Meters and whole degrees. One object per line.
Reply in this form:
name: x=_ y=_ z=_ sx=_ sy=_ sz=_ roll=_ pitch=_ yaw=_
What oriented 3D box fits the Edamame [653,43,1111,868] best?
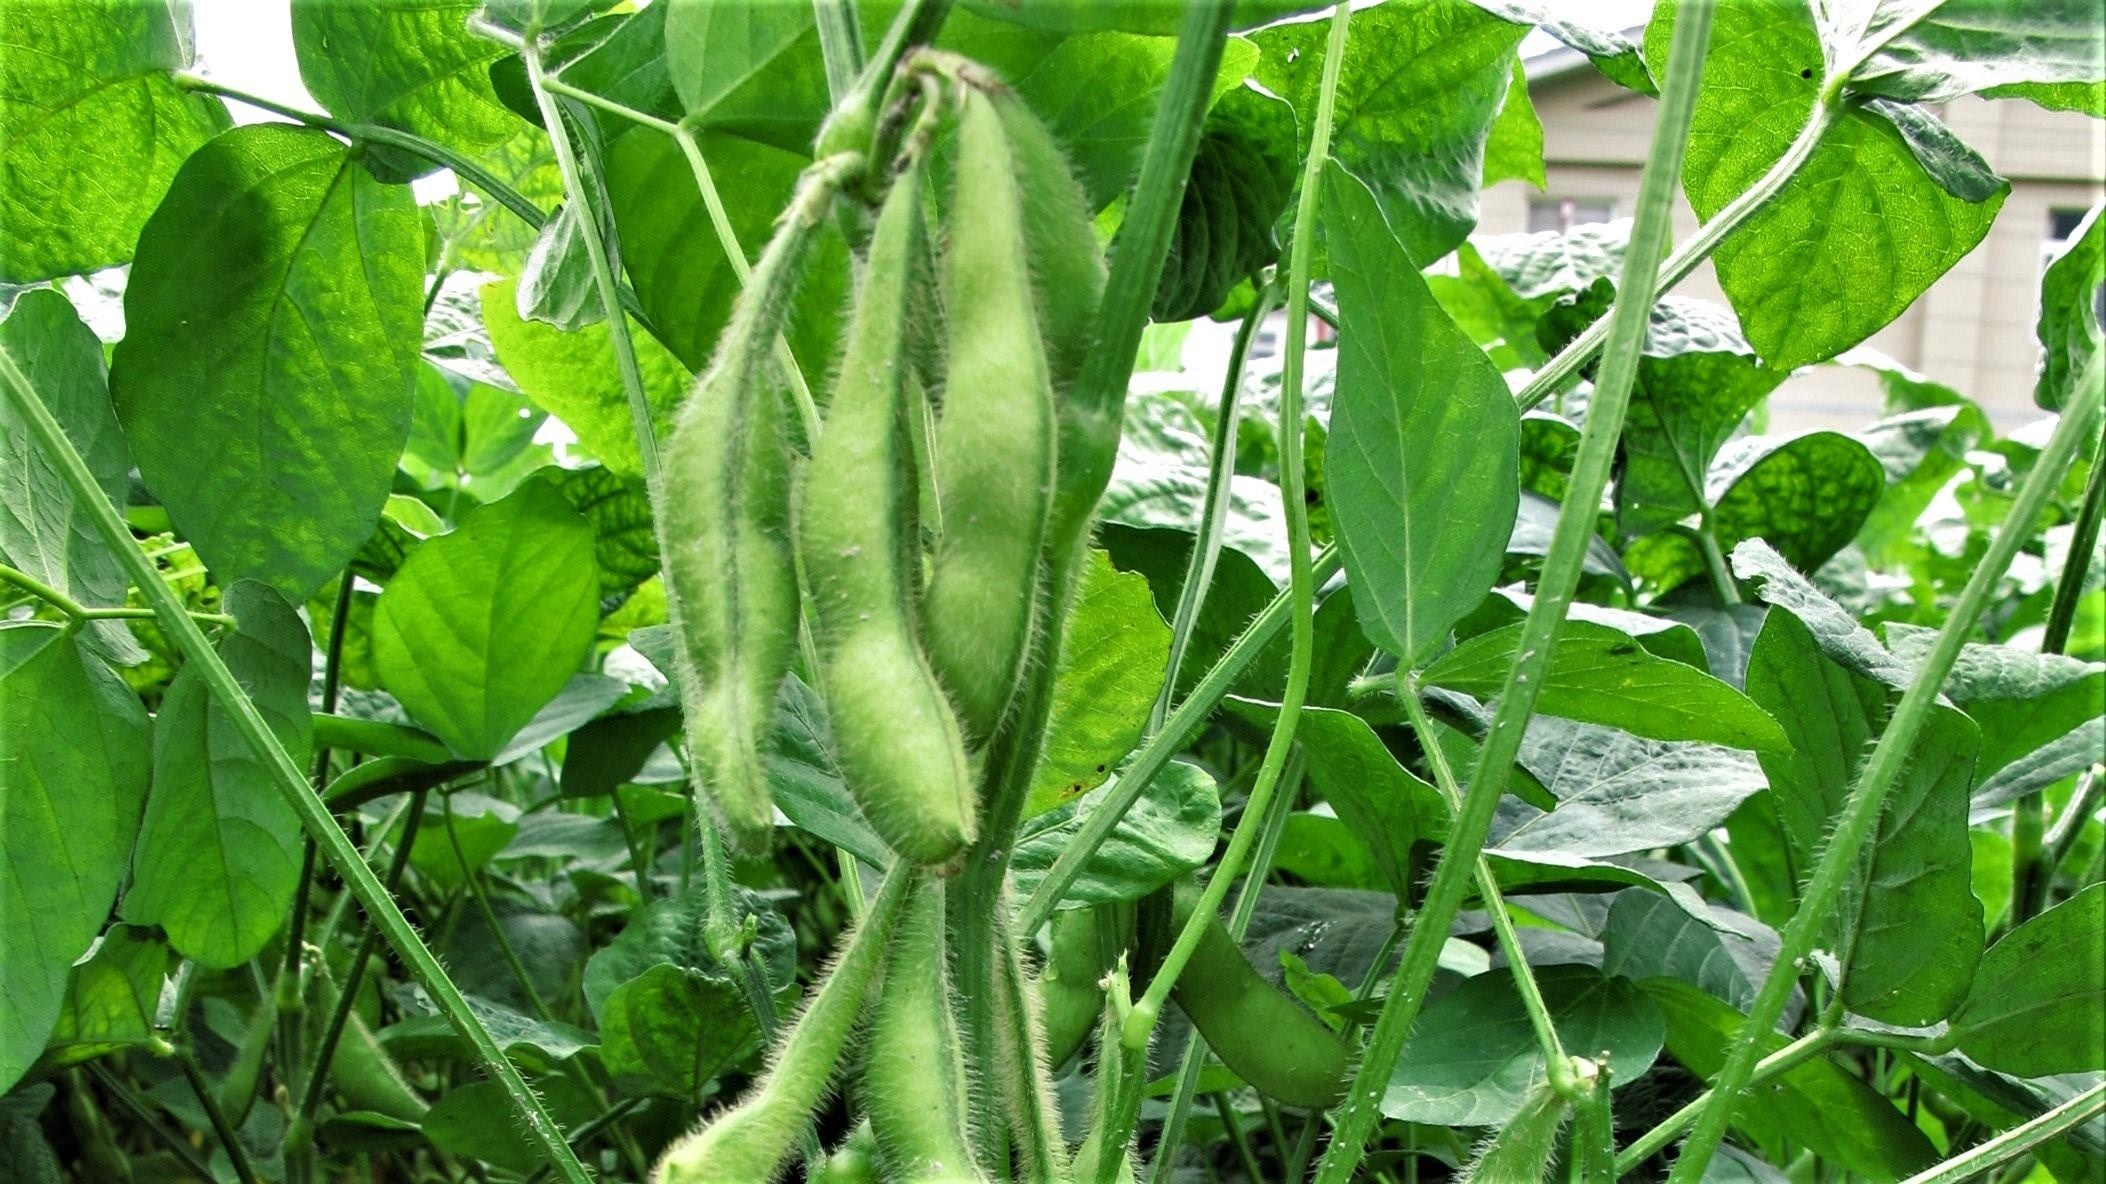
Edamame: x=-0.068 y=-0.066 z=1.438 sx=0.279 sy=0.450 sz=0.118 roll=10 pitch=4 yaw=31
